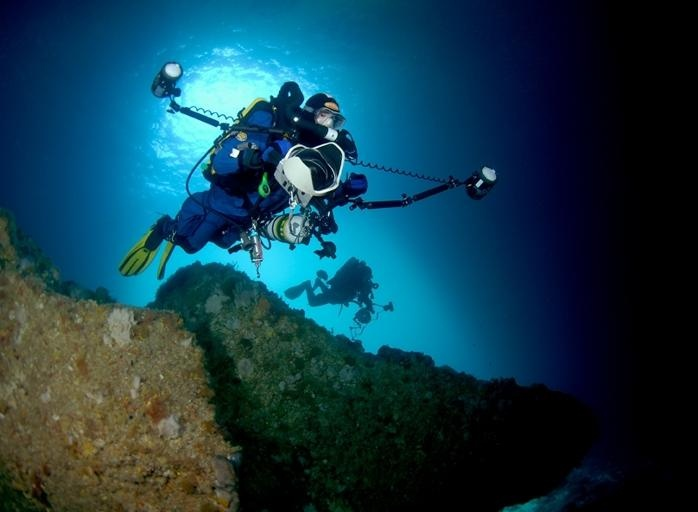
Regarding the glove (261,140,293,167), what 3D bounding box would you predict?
[{"bbox_3d":[-1.418,-2.058,12.868,0.598,0.448,0.215,-23,-47,33],"label":"glove"}]
